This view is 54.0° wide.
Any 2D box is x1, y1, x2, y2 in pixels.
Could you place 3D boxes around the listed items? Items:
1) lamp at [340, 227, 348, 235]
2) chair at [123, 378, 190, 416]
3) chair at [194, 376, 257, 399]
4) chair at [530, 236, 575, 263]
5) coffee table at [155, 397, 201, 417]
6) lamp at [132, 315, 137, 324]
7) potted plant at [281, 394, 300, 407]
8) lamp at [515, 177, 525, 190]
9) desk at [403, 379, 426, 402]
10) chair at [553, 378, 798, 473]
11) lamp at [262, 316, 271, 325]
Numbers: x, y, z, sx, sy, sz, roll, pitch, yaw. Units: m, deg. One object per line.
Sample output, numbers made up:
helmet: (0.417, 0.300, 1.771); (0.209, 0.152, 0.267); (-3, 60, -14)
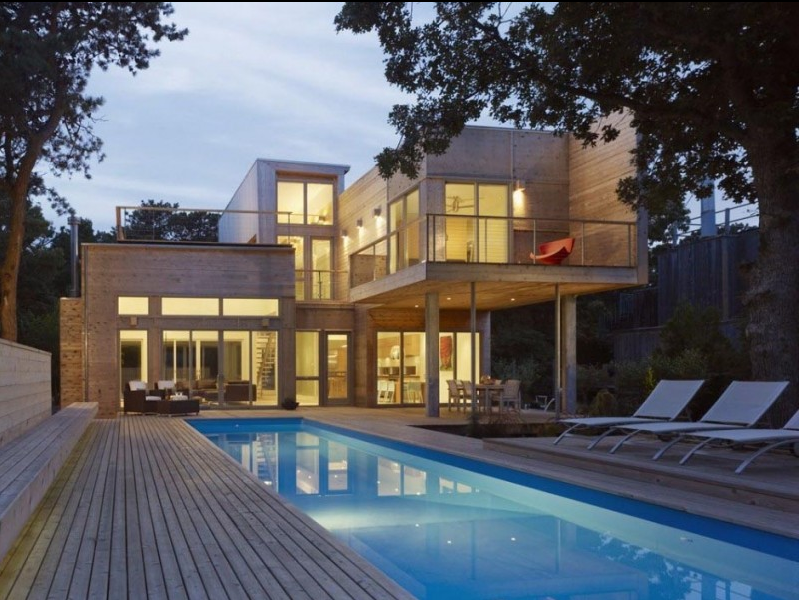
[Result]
lamp: (-1.846, -2.277, 25.863); (0.139, 0.321, 0.313); (3, -3, -43)
chair: (-6.140, 2.470, 19.922); (1.656, 0.935, 0.909); (-6, -8, 37)
chair: (-4.814, 2.487, 21.939); (1.639, 0.591, 0.311); (2, -6, -26)
chair: (3.487, -1.135, 17.880); (0.700, 0.551, 0.801); (4, -7, -30)
coffee table: (-5.509, 2.636, 19.687); (1.028, 0.415, 0.612); (3, -7, -30)
lamp: (-7.079, 0.509, 20.952); (0.144, 0.298, 0.205); (1, -1, 3)
potted plant: (-3.101, 2.813, 21.971); (0.369, 0.216, 0.380); (1, -8, 10)
lamp: (3.112, -3.010, 20.191); (0.302, 0.280, 0.174); (1, -5, -12)
desk: (0.367, 2.707, 23.272); (0.713, 1.036, 0.742); (1, 0, -7)
chair: (3.984, 1.608, 10.717); (1.829, 1.127, 3.089); (1, -6, -18)
lamp: (-3.719, 0.560, 21.869); (0.190, 0.195, 0.200); (1, -4, -20)
